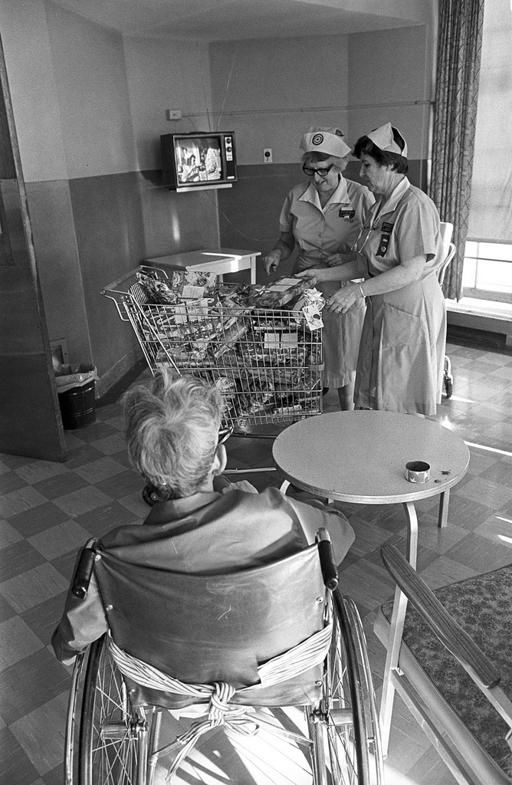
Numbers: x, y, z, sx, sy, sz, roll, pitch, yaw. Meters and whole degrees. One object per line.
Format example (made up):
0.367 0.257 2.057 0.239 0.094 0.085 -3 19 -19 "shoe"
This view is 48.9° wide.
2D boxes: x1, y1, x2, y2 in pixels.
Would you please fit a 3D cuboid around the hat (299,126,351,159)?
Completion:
0.348 -1.202 2.768 0.166 0.099 0.189 14 19 20 "hat"

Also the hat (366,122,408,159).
0.573 -1.087 2.438 0.113 0.140 0.219 11 26 38 "hat"

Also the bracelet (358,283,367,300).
0.492 -0.460 2.556 0.044 0.060 0.030 -5 -2 -7 "bracelet"

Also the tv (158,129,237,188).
-0.509 -2.023 4.923 0.655 0.470 0.354 -23 31 -34 "tv"

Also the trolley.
-0.182 -0.086 2.464 0.822 0.815 0.548 -4 -8 22 "trolley"
